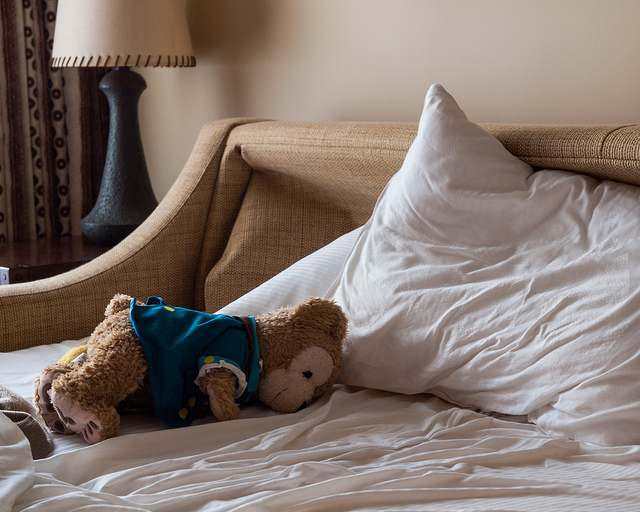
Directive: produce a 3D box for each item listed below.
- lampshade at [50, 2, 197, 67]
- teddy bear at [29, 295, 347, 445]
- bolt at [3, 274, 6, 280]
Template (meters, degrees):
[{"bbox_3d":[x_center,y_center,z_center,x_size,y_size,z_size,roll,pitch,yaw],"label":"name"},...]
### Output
[{"bbox_3d":[-0.643,-0.716,2.067,0.456,0.210,0.206,-3,17,-14],"label":"lampshade"},{"bbox_3d":[-0.227,0.162,1.121,0.384,0.170,0.275,-1,-13,-19],"label":"teddy bear"},{"bbox_3d":[-0.927,0.063,1.875,0.005,0.018,0.017,-3,-4,-16],"label":"bolt"}]
